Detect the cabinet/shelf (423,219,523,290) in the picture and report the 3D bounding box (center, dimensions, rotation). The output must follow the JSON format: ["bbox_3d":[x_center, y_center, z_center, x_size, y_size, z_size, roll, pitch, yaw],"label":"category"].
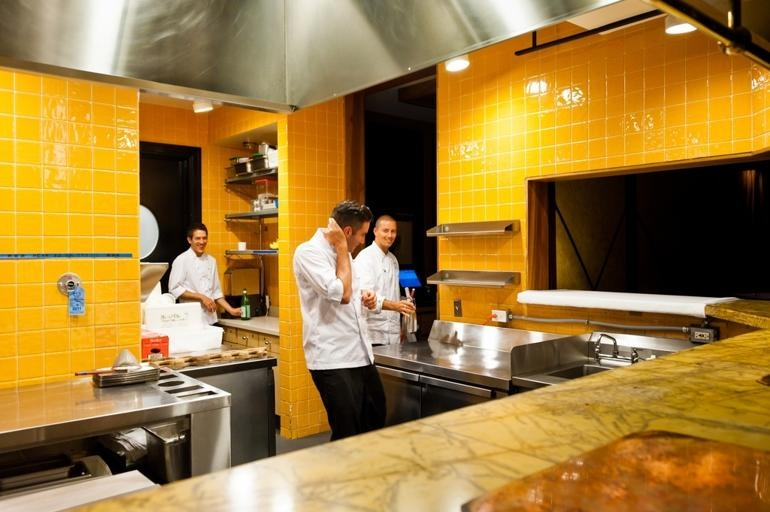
[{"bbox_3d":[0.698,-0.020,4.570,0.209,0.512,0.818,0,0,-40],"label":"cabinet/shelf"}]

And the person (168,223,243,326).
[{"bbox_3d":[-1.904,0.194,5.954,0.561,1.059,0.660,9,16,31],"label":"person"}]

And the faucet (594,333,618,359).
[{"bbox_3d":[1.541,0.619,3.904,0.172,0.171,0.107,8,16,29],"label":"faucet"}]

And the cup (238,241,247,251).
[{"bbox_3d":[-1.655,-0.107,6.506,0.132,0.101,0.131,-3,-13,-1],"label":"cup"}]

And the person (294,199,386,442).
[{"bbox_3d":[-0.265,0.447,3.769,0.513,1.580,0.679,-7,15,-26],"label":"person"}]

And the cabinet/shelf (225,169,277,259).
[{"bbox_3d":[-1.538,-0.720,6.772,0.482,0.864,1.120,-8,-10,-3],"label":"cabinet/shelf"}]
